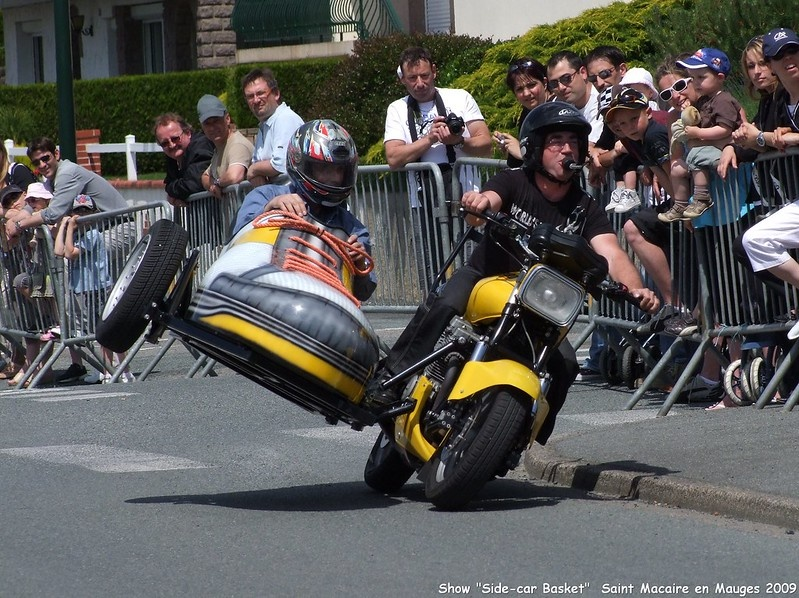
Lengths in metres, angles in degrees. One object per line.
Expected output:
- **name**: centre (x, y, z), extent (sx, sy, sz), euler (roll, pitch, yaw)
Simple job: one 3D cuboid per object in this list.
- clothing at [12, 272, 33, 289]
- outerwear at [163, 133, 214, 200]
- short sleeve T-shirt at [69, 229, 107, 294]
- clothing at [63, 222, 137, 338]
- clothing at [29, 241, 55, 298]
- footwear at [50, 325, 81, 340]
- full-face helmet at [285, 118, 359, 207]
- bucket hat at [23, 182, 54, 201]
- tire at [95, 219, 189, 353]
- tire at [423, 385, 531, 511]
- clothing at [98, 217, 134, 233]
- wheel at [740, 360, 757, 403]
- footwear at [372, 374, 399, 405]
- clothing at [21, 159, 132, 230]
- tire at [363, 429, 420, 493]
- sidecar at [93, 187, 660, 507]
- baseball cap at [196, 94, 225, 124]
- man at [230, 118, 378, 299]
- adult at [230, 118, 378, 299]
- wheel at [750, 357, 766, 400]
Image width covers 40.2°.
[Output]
- **clothing**: centre (-4.306, -0.212, 12.374), extent (0.210, 0.187, 0.096), euler (-8, 3, 8)
- **outerwear**: centre (-2.340, -1.496, 12.108), extent (0.339, 0.651, 0.506), euler (14, -25, -30)
- **short sleeve T-shirt**: centre (-3.465, -0.499, 12.165), extent (0.438, 0.788, 0.646), euler (-2, 7, -21)
- **clothing**: centre (-2.886, -0.193, 10.424), extent (0.066, 1.127, 0.961), euler (21, -1, -40)
- **clothing**: centre (-4.079, -0.347, 12.304), extent (0.270, 0.664, 0.202), euler (-12, -8, 22)
- **footwear**: centre (-3.729, 0.372, 12.050), extent (0.282, 0.103, 0.181), euler (5, 4, 43)
- **full-face helmet**: centre (-0.519, -0.946, 7.150), extent (0.424, 0.552, 0.587), euler (0, 22, -26)
- **bucket hat**: centre (-4.222, -1.256, 12.754), extent (0.214, 0.170, 0.300), euler (-2, -6, -5)
- **tire**: centre (-1.627, 0.053, 6.678), extent (0.212, 0.751, 0.770), euler (23, 24, -5)
- **tire**: centre (0.389, 0.837, 6.093), extent (0.631, 0.695, 0.283), euler (2, 6, 33)
- **clothing**: centre (-3.147, -0.859, 12.039), extent (0.271, 0.081, 0.205), euler (-19, -7, 32)
- **wheel**: centre (2.720, 0.640, 8.512), extent (0.202, 0.220, 0.241), euler (2, -40, 9)
- **footwear**: centre (-0.100, 0.523, 6.501), extent (0.149, 0.163, 0.144), euler (34, -9, -14)
- **clothing**: centre (-3.689, -1.284, 12.500), extent (0.966, 0.610, 0.616), euler (-15, -1, -21)
- **tire**: centre (-0.139, 1.001, 6.937), extent (0.269, 0.131, 0.299), euler (-20, 22, 16)
- **sidecar**: centre (-0.299, 0.010, 6.674), extent (2.715, 1.572, 1.811), euler (31, -10, 42)
- **baseball cap**: centre (-2.014, -2.036, 11.618), extent (0.293, 0.291, 0.373), euler (-2, 6, -9)
- **man**: centre (-0.630, -0.567, 7.132), extent (0.827, 1.350, 0.788), euler (-2, 11, -25)
- **adult**: centre (-0.597, -0.543, 7.083), extent (0.765, 1.264, 0.776), euler (0, 4, -18)
- **wheel**: centre (2.769, 0.625, 8.464), extent (0.152, 0.312, 0.265), euler (1, -8, 16)
